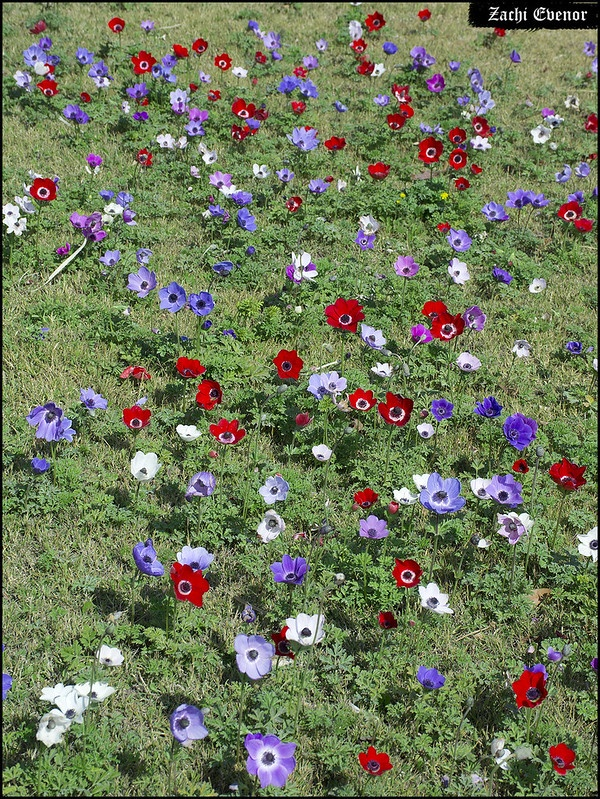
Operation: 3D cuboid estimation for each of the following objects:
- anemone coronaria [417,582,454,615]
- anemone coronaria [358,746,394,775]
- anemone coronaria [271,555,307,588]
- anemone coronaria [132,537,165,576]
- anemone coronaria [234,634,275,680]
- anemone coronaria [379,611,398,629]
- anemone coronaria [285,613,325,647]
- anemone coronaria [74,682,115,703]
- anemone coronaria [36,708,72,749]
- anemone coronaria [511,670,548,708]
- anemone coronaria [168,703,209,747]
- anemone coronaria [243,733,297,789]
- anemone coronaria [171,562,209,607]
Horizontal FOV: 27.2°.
[{"bbox_3d":[0.699,1.033,6.401,0.168,0.142,0.213,5,18,6],"label":"anemone coronaria"},{"bbox_3d":[0.361,1.746,5.890,0.147,0.072,0.148,-11,37,-31],"label":"anemone coronaria"},{"bbox_3d":[-0.058,0.872,6.312,0.174,0.151,0.170,-9,21,-34],"label":"anemone coronaria"},{"bbox_3d":[-0.761,0.769,6.194,0.139,0.200,0.217,1,17,-8],"label":"anemone coronaria"},{"bbox_3d":[-0.213,1.210,5.816,0.189,0.207,0.087,-33,0,-34],"label":"anemone coronaria"},{"bbox_3d":[0.457,1.149,6.362,0.099,0.044,0.090,-27,39,-33],"label":"anemone coronaria"},{"bbox_3d":[0.027,1.119,5.953,0.168,0.082,0.159,-11,49,-22],"label":"anemone coronaria"},{"bbox_3d":[-1.001,1.410,5.996,0.143,0.045,0.155,6,9,16],"label":"anemone coronaria"},{"bbox_3d":[-1.166,1.547,5.841,0.158,0.179,0.066,-3,-5,-40],"label":"anemone coronaria"},{"bbox_3d":[1.137,1.448,6.135,0.165,0.252,0.128,7,17,13],"label":"anemone coronaria"},{"bbox_3d":[-0.532,1.467,5.578,0.080,0.194,0.157,-10,38,41],"label":"anemone coronaria"},{"bbox_3d":[-0.145,1.634,5.682,0.242,0.095,0.254,20,1,9],"label":"anemone coronaria"},{"bbox_3d":[-0.545,0.909,6.083,0.191,0.209,0.164,4,17,1],"label":"anemone coronaria"}]
